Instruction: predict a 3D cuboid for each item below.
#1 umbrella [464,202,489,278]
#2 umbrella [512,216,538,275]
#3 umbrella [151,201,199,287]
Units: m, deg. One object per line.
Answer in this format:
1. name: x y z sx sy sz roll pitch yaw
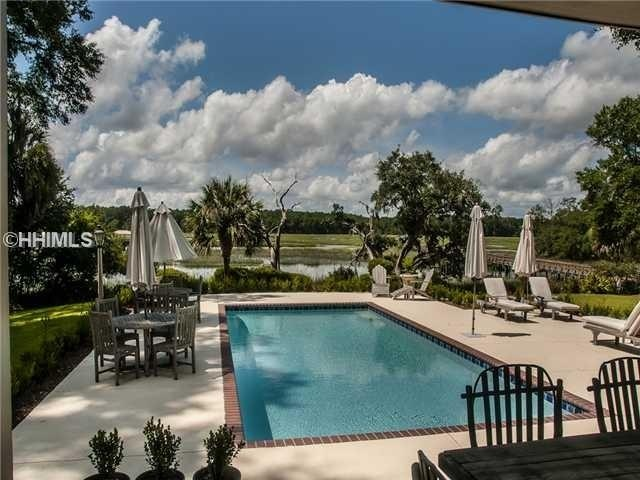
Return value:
1. umbrella: 4.092 0.032 13.081 0.530 1.975 1.131 0 -2 19
2. umbrella: 6.345 0.124 15.481 0.616 1.974 1.661 0 -2 22
3. umbrella: -3.940 -0.073 12.974 1.235 1.788 1.334 -9 9 -30
